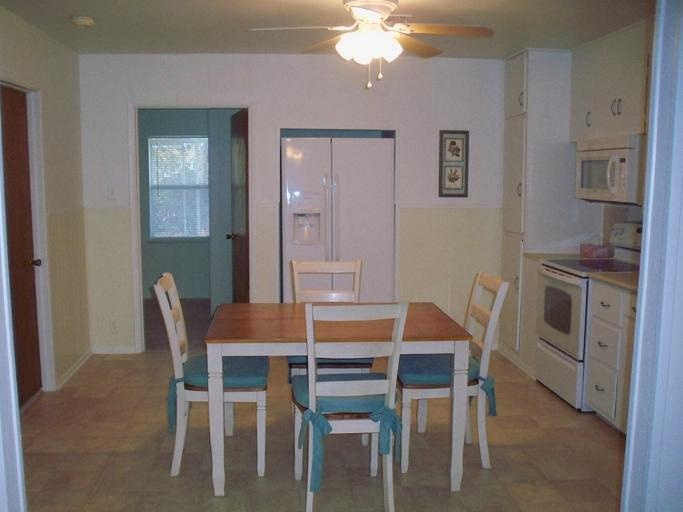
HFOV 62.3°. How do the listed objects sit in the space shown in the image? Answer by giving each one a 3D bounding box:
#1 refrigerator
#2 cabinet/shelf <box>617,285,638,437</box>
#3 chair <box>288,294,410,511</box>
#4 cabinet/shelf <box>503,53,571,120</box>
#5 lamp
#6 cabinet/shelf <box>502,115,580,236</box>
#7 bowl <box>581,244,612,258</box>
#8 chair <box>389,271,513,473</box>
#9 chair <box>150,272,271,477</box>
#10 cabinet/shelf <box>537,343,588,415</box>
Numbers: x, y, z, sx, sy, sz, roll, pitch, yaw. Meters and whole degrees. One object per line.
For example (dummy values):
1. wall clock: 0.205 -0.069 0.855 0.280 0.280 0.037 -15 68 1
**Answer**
1. refrigerator: -0.159 -0.353 5.591 0.845 1.616 0.603 -9 40 -10
2. cabinet/shelf: 1.806 0.703 3.593 0.074 0.958 0.255 4 13 18
3. chair: 0.049 0.745 3.070 0.631 1.169 0.622 -1 12 -4
4. cabinet/shelf: 1.725 -1.404 5.111 0.440 0.781 0.774 -1 12 1
5. lamp: 0.144 -1.134 3.271 0.452 0.447 0.466 0 7 -5
6. cabinet/shelf: 1.686 -0.687 4.886 0.677 1.036 0.422 7 14 30
7. bowl: 2.051 -0.035 4.624 0.139 0.070 0.143 0 6 0
8. chair: 0.649 0.696 3.541 0.789 1.140 0.813 -2 5 -25
9. chair: -0.771 0.767 3.439 0.640 1.056 0.579 2 -1 -8
10. cabinet/shelf: 1.633 0.907 4.265 0.318 0.326 0.483 2 9 -7
